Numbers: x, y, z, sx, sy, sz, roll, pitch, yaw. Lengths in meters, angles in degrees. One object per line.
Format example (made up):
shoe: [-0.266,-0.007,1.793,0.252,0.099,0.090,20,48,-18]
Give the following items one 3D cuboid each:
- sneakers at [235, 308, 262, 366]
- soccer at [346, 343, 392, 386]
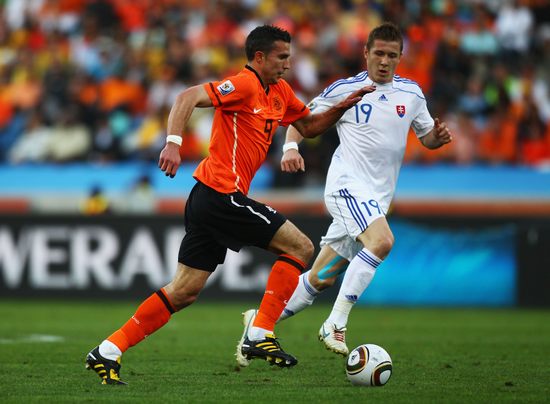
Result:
sneakers: [-0.261,1.093,5.920,0.215,0.524,0.162,0,-4,15]
soccer: [0.773,1.325,5.820,0.305,0.334,0.324,20,-4,-2]
